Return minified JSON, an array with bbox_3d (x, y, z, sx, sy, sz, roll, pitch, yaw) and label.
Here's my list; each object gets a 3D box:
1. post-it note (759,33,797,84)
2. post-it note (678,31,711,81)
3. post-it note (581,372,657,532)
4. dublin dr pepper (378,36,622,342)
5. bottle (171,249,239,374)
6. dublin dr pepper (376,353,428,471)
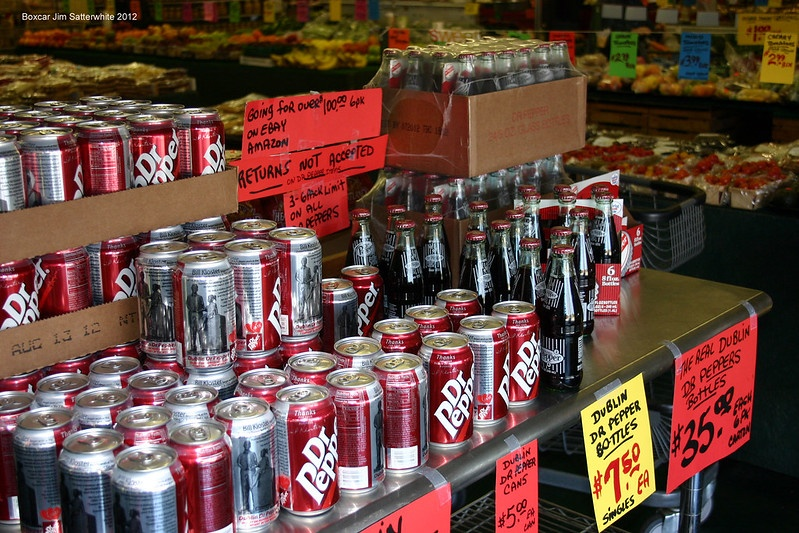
[{"bbox_3d":[2.112,-1.165,3.835,0.156,0.265,0.126,5,20,24],"label":"post-it note"},{"bbox_3d":[1.866,-1.331,4.356,0.169,0.282,0.136,3,19,18],"label":"post-it note"},{"bbox_3d":[0.568,0.482,1.792,0.266,0.332,0.074,-20,24,-40],"label":"post-it note"},{"bbox_3d":[0.272,-0.217,2.009,0.480,0.860,0.925,10,21,39],"label":"dublin dr pepper"},{"bbox_3d":[-0.403,0.093,1.409,0.129,0.230,0.089,-15,22,-32],"label":"bottle"},{"bbox_3d":[0.005,0.309,1.416,0.102,0.227,0.063,-5,18,-4],"label":"dublin dr pepper"}]
